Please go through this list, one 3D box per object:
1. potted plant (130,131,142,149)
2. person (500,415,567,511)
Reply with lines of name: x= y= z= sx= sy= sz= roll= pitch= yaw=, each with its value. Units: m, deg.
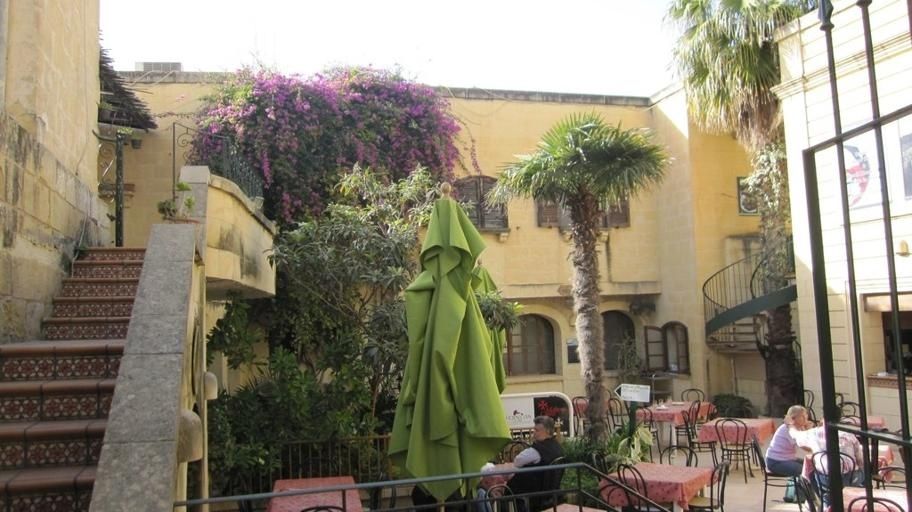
potted plant: x=-7.647 y=-2.822 z=19.626 sx=0.263 sy=0.452 sz=0.393 roll=3 pitch=-17 yaw=-20
person: x=1.311 y=3.580 z=13.923 sx=0.682 sy=0.668 sz=1.909 roll=16 pitch=18 yaw=15
